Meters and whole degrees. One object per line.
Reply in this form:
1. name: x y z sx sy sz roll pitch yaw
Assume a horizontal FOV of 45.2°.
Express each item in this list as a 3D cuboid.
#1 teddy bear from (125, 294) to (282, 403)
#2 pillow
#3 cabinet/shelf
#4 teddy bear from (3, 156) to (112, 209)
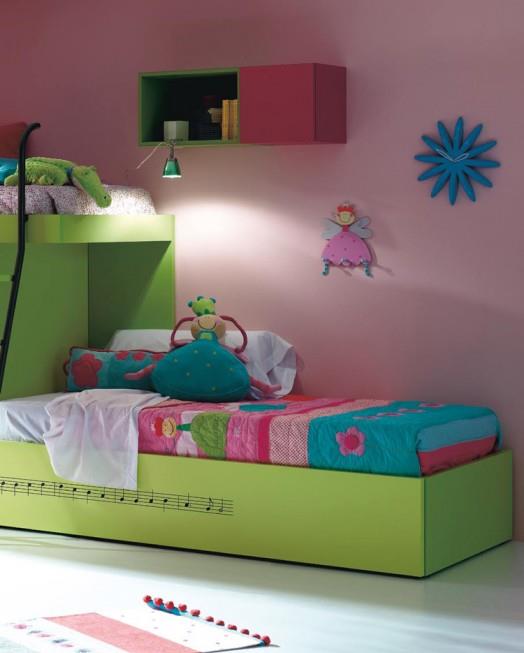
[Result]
1. teddy bear: -0.297 0.103 3.139 0.647 0.527 0.374 -2 -4 32
2. pillow: -0.781 0.232 3.340 0.522 0.208 0.144 1 -4 -22
3. cabinet/shelf: -0.157 -1.165 3.339 1.042 0.331 0.295 7 19 25
4. teddy bear: -1.020 -0.749 3.162 0.398 0.121 0.306 10 13 11
